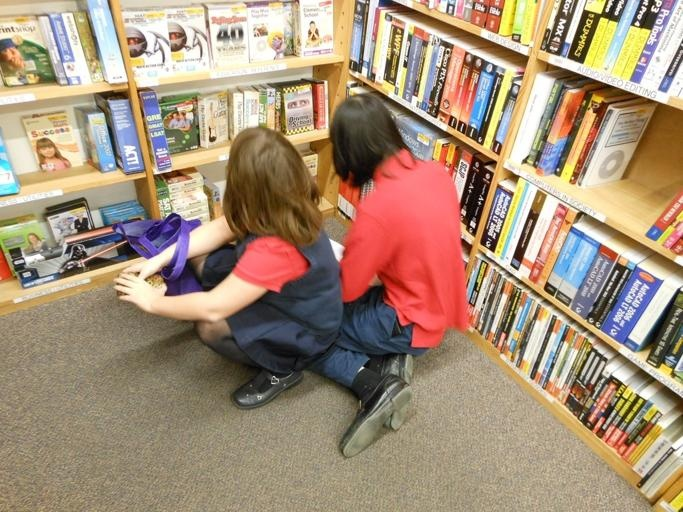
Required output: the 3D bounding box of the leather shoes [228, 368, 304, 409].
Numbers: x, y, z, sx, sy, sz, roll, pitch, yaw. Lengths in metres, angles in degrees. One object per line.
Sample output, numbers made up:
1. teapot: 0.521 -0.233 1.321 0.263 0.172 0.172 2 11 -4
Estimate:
1. leather shoes: -0.366 0.622 2.170 0.333 0.146 0.139 -24 60 -12
